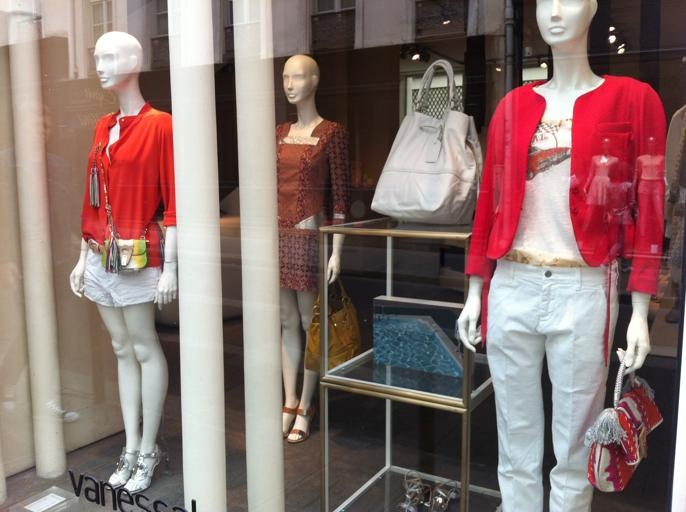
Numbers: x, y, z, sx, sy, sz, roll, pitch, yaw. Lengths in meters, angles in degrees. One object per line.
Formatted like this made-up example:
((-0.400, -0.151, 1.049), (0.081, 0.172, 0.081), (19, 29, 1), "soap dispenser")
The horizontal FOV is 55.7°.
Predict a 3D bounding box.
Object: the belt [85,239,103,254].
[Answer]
((-0.857, -0.034, 2.235), (0.042, 0.052, 0.056), (4, -32, -14), "belt")

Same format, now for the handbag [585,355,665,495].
((0.692, 0.396, 1.592), (0.106, 0.282, 0.278), (12, 33, 38), "handbag")

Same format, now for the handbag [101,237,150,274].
((-0.724, -0.007, 2.181), (0.115, 0.096, 0.035), (0, -1, 11), "handbag")

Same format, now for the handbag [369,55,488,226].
((0.234, -0.321, 1.742), (0.272, 0.404, 0.180), (20, 24, 28), "handbag")

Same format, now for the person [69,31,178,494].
((-0.728, 0.051, 2.162), (0.257, 1.532, 0.439), (-15, 17, -43), "person")

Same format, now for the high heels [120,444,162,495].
((-0.697, 0.752, 2.323), (0.078, 0.215, 0.083), (8, -26, 24), "high heels")
